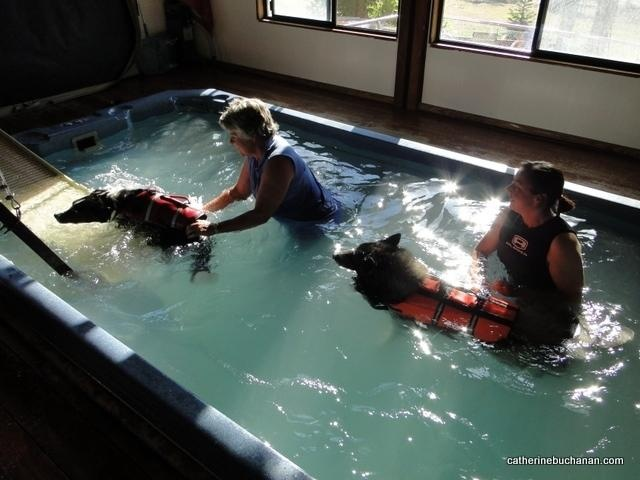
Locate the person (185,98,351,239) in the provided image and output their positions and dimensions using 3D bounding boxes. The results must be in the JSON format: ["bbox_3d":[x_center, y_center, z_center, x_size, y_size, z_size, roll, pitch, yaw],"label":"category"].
[{"bbox_3d":[-0.291,-0.361,2.895,1.156,0.999,0.683,-9,21,-17],"label":"person"}]

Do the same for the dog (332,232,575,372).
[{"bbox_3d":[0.614,0.214,2.495,1.350,0.608,0.452,16,66,23],"label":"dog"}]

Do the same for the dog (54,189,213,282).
[{"bbox_3d":[-1.078,-0.083,2.696,0.863,0.438,0.296,8,37,9],"label":"dog"}]
